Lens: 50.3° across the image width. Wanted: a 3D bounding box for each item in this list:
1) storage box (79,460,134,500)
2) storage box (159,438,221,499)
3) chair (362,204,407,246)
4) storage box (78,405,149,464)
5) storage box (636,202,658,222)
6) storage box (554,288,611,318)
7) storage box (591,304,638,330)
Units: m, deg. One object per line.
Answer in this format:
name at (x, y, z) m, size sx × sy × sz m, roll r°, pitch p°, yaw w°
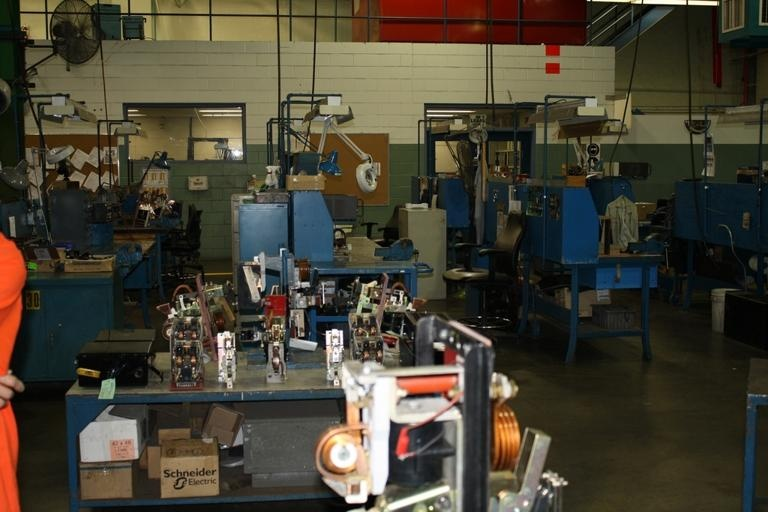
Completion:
storage box at (-2.083, 1.710, 6.158) m, size 0.295 × 0.213 × 0.307 m, roll 1°, pitch -1°, yaw -11°
storage box at (-1.454, 1.627, 6.170) m, size 0.405 × 0.320 × 0.413 m, roll 1°, pitch 3°, yaw -11°
chair at (0.029, -0.412, 12.420) m, size 0.628 × 0.980 × 0.678 m, roll 5°, pitch 6°, yaw -5°
storage box at (-2.050, 1.380, 6.208) m, size 0.404 × 0.270 × 0.415 m, roll 0°, pitch -1°, yaw -11°
storage box at (4.067, -0.698, 12.734) m, size 0.252 × 0.211 × 0.667 m, roll 0°, pitch 9°, yaw 19°
storage box at (2.243, 0.503, 9.284) m, size 0.389 × 0.260 × 0.400 m, roll 0°, pitch 2°, yaw -1°
storage box at (2.517, 0.679, 9.160) m, size 0.266 × 0.144 × 0.374 m, roll 1°, pitch 6°, yaw 0°
